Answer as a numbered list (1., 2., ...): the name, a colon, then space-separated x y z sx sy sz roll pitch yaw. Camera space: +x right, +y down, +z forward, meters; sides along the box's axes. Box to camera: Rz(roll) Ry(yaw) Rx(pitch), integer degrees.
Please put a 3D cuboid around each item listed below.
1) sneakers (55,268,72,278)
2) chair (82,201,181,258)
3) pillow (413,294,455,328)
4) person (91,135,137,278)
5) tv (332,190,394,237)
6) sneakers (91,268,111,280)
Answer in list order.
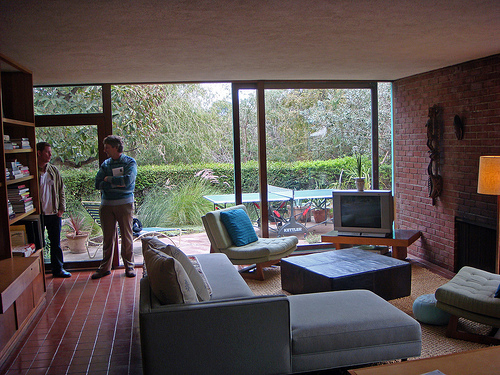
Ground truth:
1. sneakers: -2.673 1.212 5.359 0.219 0.126 0.101 0 1 -8
2. chair: -1.799 0.607 6.204 1.691 0.973 0.823 -2 3 -39
3. pillow: 1.852 1.247 3.895 0.394 0.246 0.399 -10 -1 20
4. person: -1.885 0.274 5.242 0.619 1.983 0.362 -1 9 3
5. tv: 1.694 0.358 5.459 0.854 0.623 0.447 -1 7 39
6. sneakers: -2.113 1.234 5.336 0.245 0.095 0.090 3 0 -38
